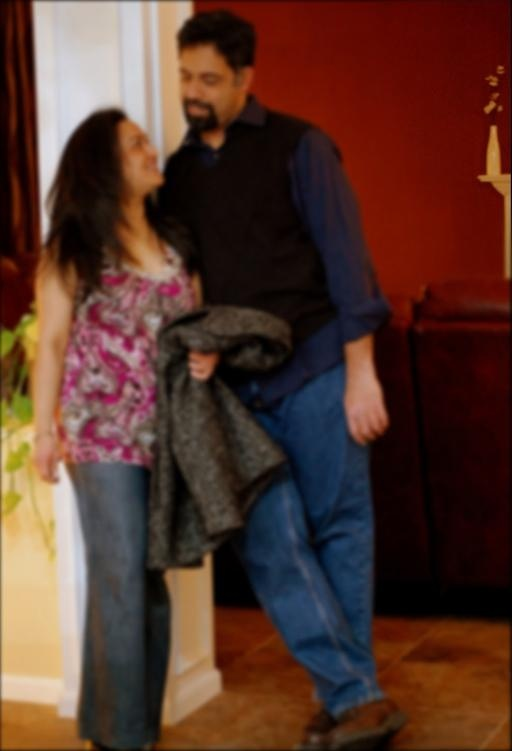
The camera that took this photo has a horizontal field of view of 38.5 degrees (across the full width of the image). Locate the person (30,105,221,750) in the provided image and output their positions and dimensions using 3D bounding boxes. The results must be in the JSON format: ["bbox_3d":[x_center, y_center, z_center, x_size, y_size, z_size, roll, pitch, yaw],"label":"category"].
[{"bbox_3d":[-0.216,0.074,1.149,0.207,0.955,0.242,4,11,34],"label":"person"}]
